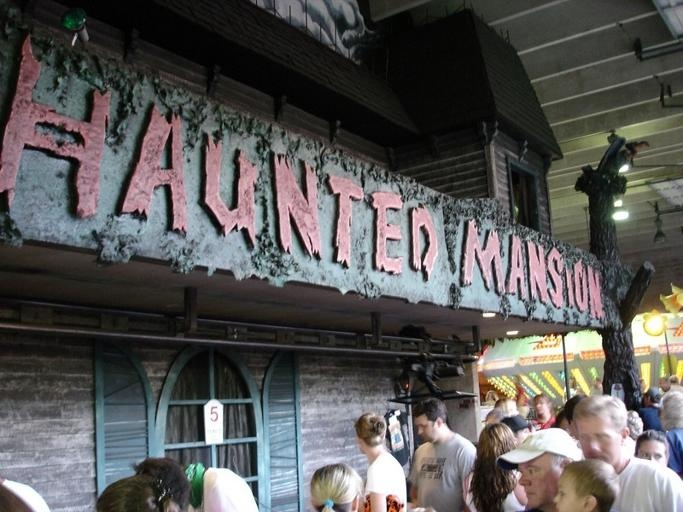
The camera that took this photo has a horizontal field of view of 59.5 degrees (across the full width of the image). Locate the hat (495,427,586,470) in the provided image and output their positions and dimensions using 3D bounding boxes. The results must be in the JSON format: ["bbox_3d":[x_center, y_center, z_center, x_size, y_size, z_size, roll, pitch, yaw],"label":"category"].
[{"bbox_3d":[1.493,1.449,4.484,0.455,0.244,0.337,-3,-27,-4],"label":"hat"}]
